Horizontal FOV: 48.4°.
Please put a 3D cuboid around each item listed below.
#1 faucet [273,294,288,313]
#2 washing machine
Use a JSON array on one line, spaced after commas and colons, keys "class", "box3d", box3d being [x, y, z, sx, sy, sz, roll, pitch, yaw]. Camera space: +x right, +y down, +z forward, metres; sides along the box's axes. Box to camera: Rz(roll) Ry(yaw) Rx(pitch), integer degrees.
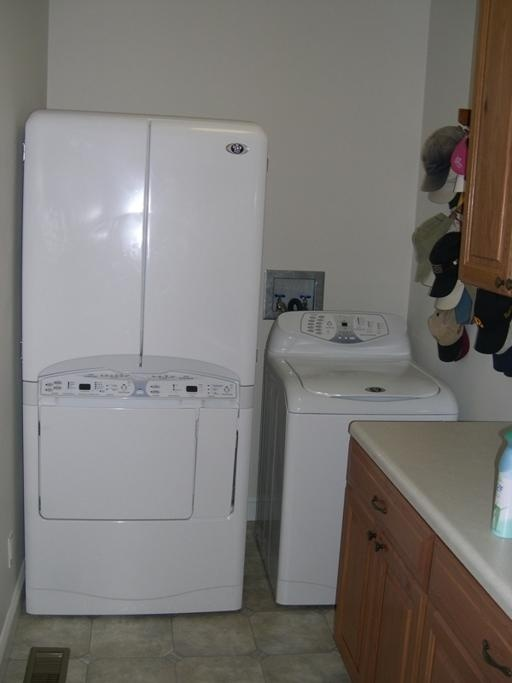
[{"class": "faucet", "box3d": [0.127, -0.188, 2.786, 0.079, 0.079, 0.031, 2, 7, -4]}, {"class": "washing machine", "box3d": [0.253, 0.420, 2.477, 0.917, 1.524, 1.066, 0, 6, -1]}]
